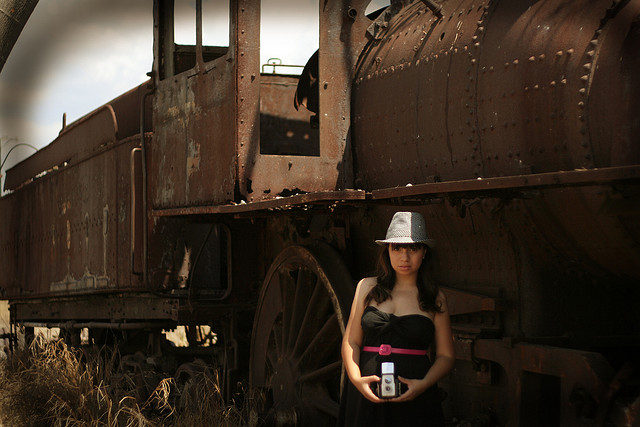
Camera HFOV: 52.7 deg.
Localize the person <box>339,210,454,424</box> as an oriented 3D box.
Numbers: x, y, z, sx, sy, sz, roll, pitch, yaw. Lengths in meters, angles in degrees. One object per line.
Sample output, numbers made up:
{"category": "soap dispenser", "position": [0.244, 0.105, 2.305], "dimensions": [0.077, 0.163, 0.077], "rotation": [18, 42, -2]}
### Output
{"category": "person", "position": [0.523, 0.729, 4.421], "dimensions": [0.768, 1.474, 0.413], "rotation": [0, -4, 1]}
